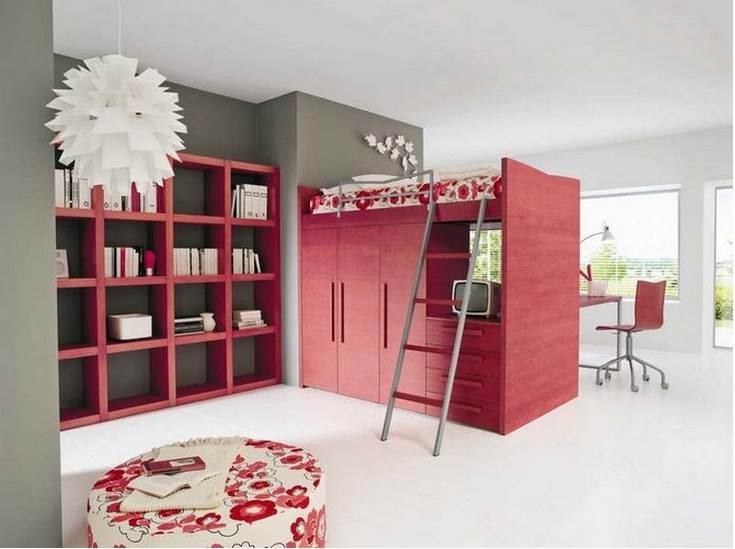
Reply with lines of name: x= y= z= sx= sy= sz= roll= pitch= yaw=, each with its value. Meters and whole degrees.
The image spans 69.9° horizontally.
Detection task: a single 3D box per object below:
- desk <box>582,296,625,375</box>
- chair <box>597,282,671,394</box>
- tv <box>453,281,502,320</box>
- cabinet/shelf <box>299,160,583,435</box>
desk: x=3.018 y=0.777 z=6.668 sx=0.830 sy=0.778 sz=0.637 roll=-2 pitch=3 yaw=-40
chair: x=2.793 y=0.626 z=5.552 sx=0.700 sy=1.068 sz=0.718 roll=0 pitch=-1 yaw=-29
tv: x=0.878 y=0.197 z=4.364 sx=0.430 sy=0.392 sz=0.306 roll=-1 pitch=-3 yaw=40
cabinet/shelf: x=0.633 y=0.260 z=4.514 sx=2.307 sy=2.014 sz=1.345 roll=1 pitch=2 yaw=40
